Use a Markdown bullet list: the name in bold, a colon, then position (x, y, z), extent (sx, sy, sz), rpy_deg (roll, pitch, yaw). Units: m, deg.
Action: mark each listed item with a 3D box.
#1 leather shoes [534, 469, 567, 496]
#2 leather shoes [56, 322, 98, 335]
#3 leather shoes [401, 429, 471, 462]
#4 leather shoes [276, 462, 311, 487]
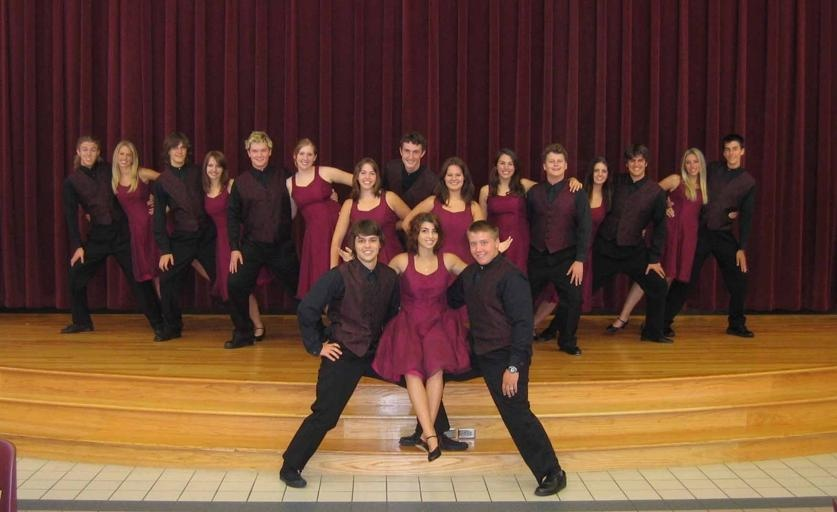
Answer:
- **leather shoes**: position (1.049, 1.770, 5.640), extent (0.307, 0.131, 0.121), rpy_deg (-6, 0, -39)
- **leather shoes**: position (-3.460, 0.728, 7.279), extent (0.342, 0.136, 0.115), rpy_deg (3, -1, -16)
- **leather shoes**: position (0.127, 1.525, 5.789), extent (0.574, 0.175, 0.214), rpy_deg (-2, 0, 11)
- **leather shoes**: position (-0.989, 1.734, 5.747), extent (0.244, 0.238, 0.125), rpy_deg (2, 2, 5)
